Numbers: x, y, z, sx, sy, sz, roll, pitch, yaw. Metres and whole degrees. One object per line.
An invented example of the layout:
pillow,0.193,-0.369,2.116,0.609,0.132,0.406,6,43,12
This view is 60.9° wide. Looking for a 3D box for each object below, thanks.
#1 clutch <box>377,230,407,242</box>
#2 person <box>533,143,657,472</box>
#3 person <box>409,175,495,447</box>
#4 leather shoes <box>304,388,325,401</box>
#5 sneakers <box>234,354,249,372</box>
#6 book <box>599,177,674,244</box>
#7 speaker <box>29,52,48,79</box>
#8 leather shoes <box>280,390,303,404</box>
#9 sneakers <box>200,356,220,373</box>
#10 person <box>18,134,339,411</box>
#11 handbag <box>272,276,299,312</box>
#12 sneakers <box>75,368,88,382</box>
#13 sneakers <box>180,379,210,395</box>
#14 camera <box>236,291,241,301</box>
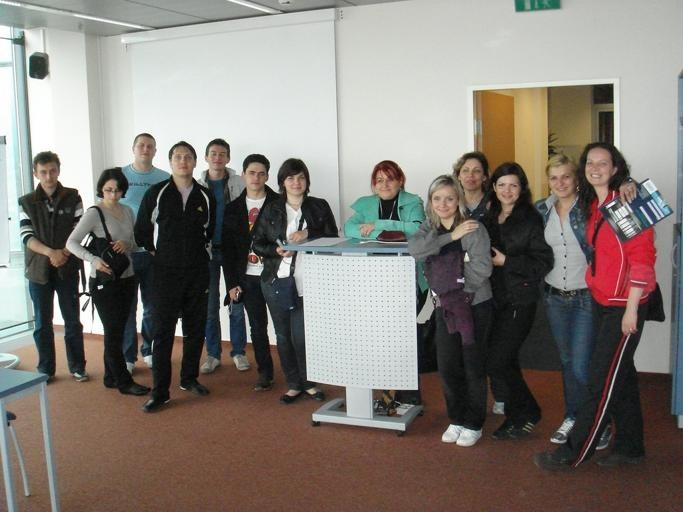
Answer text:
clutch,0.373,-0.152,4.345,0.205,0.072,0.096,-1,12,2
person,1.697,0.340,3.752,0.570,2.100,0.619,4,13,28
person,0.792,0.545,4.152,0.542,1.611,0.278,0,11,9
leather shoes,-0.224,1.181,4.992,0.073,0.043,0.167,-7,8,-37
sneakers,-1.008,1.070,5.830,0.091,0.085,0.213,-1,4,-30
book,1.793,-0.277,3.558,0.341,0.364,0.218,-3,11,-6
speaker,-3.475,-2.179,6.618,0.273,0.295,0.115,-1,11,6
leather shoes,-0.428,1.203,4.986,0.098,0.064,0.214,7,15,36
sneakers,-1.325,1.086,5.840,0.087,0.104,0.242,0,0,10
person,-1.519,0.136,5.044,1.230,2.195,0.895,0,11,10
handbag,-0.451,0.292,4.688,0.215,0.286,0.151,-14,7,24
sneakers,-2.492,1.142,5.568,0.157,0.068,0.068,7,9,43
sneakers,-1.321,1.175,5.244,0.281,0.104,0.112,4,12,29
camera,-0.915,0.354,5.172,0.016,0.060,0.060,13,4,15
